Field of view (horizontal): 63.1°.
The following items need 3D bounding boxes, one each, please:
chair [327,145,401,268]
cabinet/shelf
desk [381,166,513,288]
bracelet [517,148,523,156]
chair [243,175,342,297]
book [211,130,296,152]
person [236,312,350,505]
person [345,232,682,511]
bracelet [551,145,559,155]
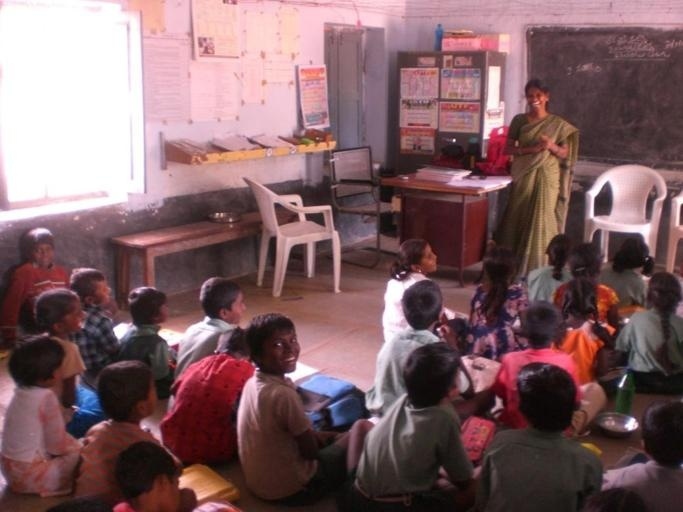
[{"bbox_3d":[0.349,-0.532,5.878,0.890,1.175,0.863,-5,17,-22],"label":"chair"},{"bbox_3d":[1.292,-1.750,6.273,1.397,1.371,0.750,5,10,30],"label":"cabinet/shelf"},{"bbox_3d":[0.740,-0.243,5.389,1.053,0.910,0.804,4,0,-29],"label":"desk"},{"bbox_3d":[1.635,-0.957,5.084,0.053,0.052,0.051,3,22,5],"label":"bracelet"},{"bbox_3d":[-0.432,-0.201,5.135,0.858,1.012,0.805,-12,18,-43],"label":"chair"},{"bbox_3d":[-0.820,-1.062,5.207,0.355,0.172,0.832,5,11,32],"label":"book"},{"bbox_3d":[-0.198,0.630,2.272,0.444,0.781,0.257,-1,9,-2],"label":"person"},{"bbox_3d":[1.098,0.419,2.823,0.831,0.568,1.377,5,22,31],"label":"person"},{"bbox_3d":[1.913,-0.956,4.996,0.073,0.071,0.072,-18,31,23],"label":"bracelet"}]
